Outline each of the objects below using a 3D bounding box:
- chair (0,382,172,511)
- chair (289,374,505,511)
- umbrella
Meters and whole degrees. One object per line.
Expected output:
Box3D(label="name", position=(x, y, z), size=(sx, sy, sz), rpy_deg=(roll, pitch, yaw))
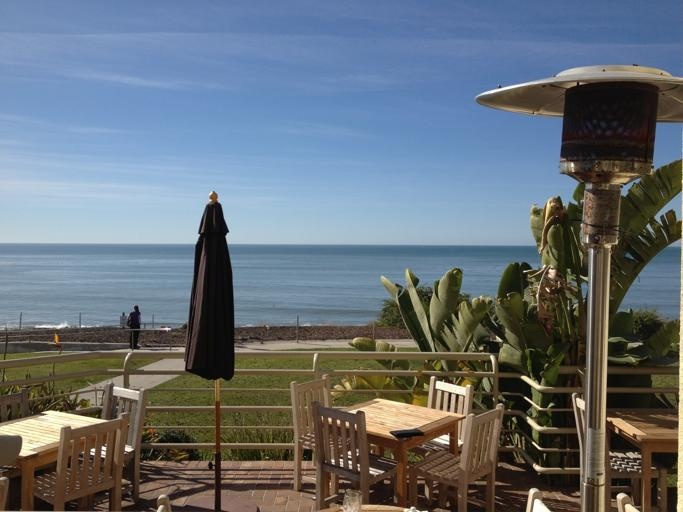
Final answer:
Box3D(label="chair", position=(-2.419, 1.712, 5.774), size=(1.432, 1.074, 0.957), rpy_deg=(2, 1, 26))
Box3D(label="chair", position=(0.441, 1.363, 6.369), size=(1.489, 0.930, 1.197), rpy_deg=(6, 10, 43))
Box3D(label="umbrella", position=(-1.179, 0.865, 5.917), size=(0.420, 2.849, 0.449), rpy_deg=(0, -4, -14))
